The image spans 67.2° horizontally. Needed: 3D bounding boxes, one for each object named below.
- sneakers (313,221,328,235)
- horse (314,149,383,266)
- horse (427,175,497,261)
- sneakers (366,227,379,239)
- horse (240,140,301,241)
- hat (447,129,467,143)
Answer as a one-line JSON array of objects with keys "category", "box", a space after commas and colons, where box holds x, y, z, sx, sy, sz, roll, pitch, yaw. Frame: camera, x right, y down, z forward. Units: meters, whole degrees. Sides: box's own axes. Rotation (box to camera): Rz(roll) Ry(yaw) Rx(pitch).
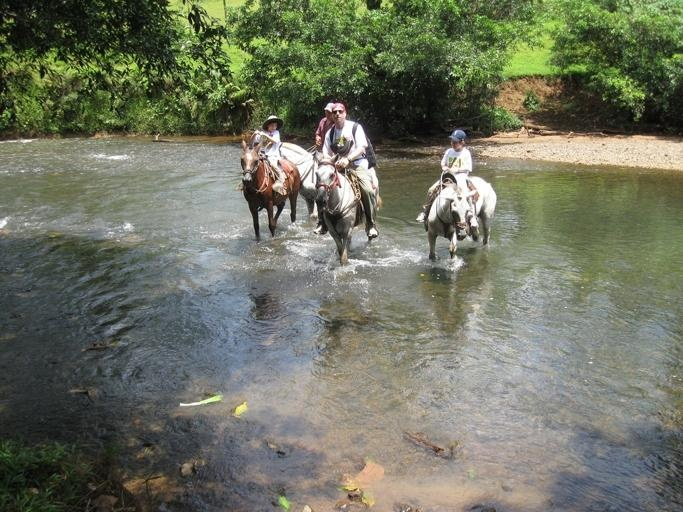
[{"category": "sneakers", "box": [-0.486, -0.614, 11.982, 0.155, 0.258, 0.474, 1, 3, 12]}, {"category": "horse", "box": [-0.092, -0.956, 11.247, 0.690, 2.511, 1.896, 5, 16, 21]}, {"category": "horse", "box": [2.814, -0.891, 12.224, 1.022, 1.923, 2.484, 7, 17, 29]}, {"category": "sneakers", "box": [0.752, -0.527, 12.057, 0.205, 0.270, 0.108, -21, -13, 33]}, {"category": "horse", "box": [-1.974, -1.874, 14.246, 1.115, 2.567, 3.105, 0, 15, 4]}, {"category": "hat", "box": [2.696, -2.760, 11.879, 0.307, 0.253, 0.530, 1, 15, 8]}]
